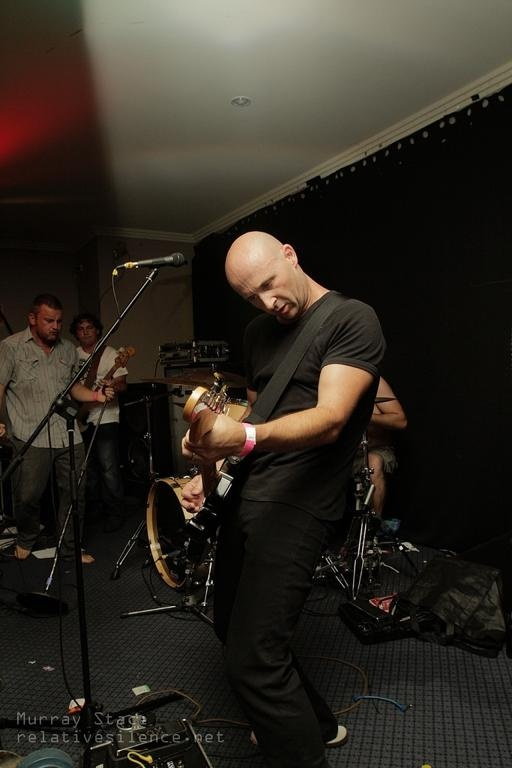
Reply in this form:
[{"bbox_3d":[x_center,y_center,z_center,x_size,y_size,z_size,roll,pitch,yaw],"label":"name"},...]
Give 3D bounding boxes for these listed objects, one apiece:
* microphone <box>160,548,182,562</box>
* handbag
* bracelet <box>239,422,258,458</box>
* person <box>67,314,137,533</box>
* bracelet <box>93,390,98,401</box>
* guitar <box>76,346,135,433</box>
[{"bbox_3d":[-0.427,0.870,2.957,0.072,0.124,0.044,4,45,7],"label":"microphone"},{"bbox_3d":[0.734,0.837,2.149,0.349,0.127,0.353,-8,33,28],"label":"handbag"},{"bbox_3d":[-0.013,0.110,1.149,0.013,0.051,0.052,-1,9,-15],"label":"bracelet"},{"bbox_3d":[-1.164,0.146,4.394,0.744,1.810,0.284,-5,-7,36],"label":"person"},{"bbox_3d":[-1.039,0.082,3.800,0.027,0.050,0.048,0,-7,-13],"label":"bracelet"},{"bbox_3d":[-1.074,0.056,4.125,0.116,0.806,0.330,6,28,-47],"label":"guitar"}]
